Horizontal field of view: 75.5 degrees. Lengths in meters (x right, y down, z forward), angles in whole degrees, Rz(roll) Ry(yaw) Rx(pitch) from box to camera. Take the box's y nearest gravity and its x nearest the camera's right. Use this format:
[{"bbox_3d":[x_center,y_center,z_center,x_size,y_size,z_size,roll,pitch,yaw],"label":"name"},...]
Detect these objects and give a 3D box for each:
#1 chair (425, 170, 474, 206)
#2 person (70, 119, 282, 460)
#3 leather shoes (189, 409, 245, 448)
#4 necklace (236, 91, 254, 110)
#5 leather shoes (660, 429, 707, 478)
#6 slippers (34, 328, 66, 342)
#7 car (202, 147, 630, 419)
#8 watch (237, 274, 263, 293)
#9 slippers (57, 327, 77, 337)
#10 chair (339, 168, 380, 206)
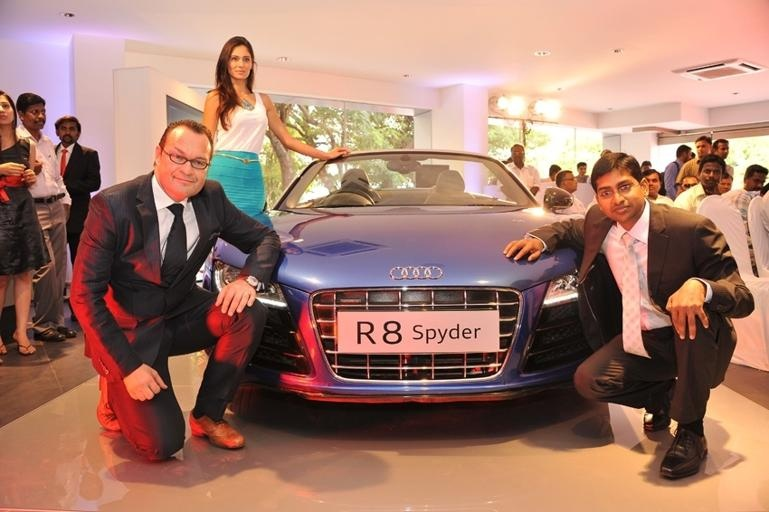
[{"bbox_3d":[0.448,-0.450,3.454,0.232,0.295,0.317,6,-5,2],"label":"chair"},{"bbox_3d":[-0.976,0.171,2.408,0.908,1.610,0.422,-9,14,-33],"label":"person"},{"bbox_3d":[-0.866,0.877,2.597,0.345,0.136,0.132,4,1,31],"label":"leather shoes"},{"bbox_3d":[-0.902,-1.019,3.250,0.079,0.036,0.111,-5,45,-13],"label":"necklace"},{"bbox_3d":[1.423,0.929,2.371,0.120,0.131,0.335,-7,-4,41],"label":"leather shoes"},{"bbox_3d":[-3.091,0.729,4.658,0.334,0.133,0.120,2,2,-9],"label":"slippers"},{"bbox_3d":[0.141,0.185,2.627,1.335,0.807,2.205,-1,9,2],"label":"car"},{"bbox_3d":[-0.655,0.132,2.473,0.100,0.095,0.066,47,33,20],"label":"watch"},{"bbox_3d":[-3.032,0.734,4.790,0.211,0.090,0.079,4,8,21],"label":"slippers"},{"bbox_3d":[-0.172,-0.474,3.655,0.213,0.289,0.289,3,-19,1],"label":"chair"}]
